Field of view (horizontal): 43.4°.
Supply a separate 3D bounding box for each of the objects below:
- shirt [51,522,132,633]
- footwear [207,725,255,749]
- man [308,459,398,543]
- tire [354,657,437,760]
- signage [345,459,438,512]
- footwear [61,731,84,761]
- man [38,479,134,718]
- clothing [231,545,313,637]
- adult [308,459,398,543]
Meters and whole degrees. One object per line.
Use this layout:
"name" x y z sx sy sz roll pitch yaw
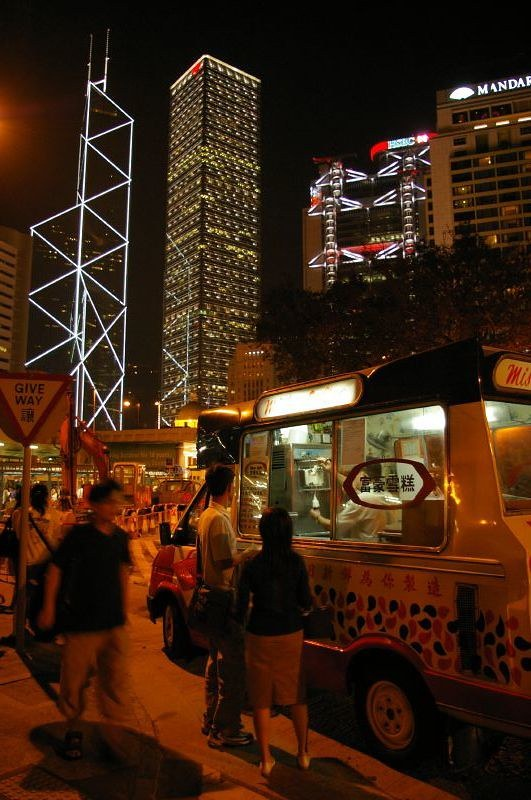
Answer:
"shirt" -1.032 1.044 3.954 0.435 0.622 0.256 1 -6 -12
"footwear" -0.221 2.175 4.334 0.268 0.118 0.121 -3 -13 -5
"man" 0.553 0.854 4.760 0.428 0.649 0.461 -8 -33 -6
"tire" 0.796 1.920 4.096 0.108 0.646 0.662 3 -6 -32
"signage" 0.818 0.539 4.343 0.637 0.324 0.014 0 -13 44
"footwear" -1.134 2.029 3.913 0.107 0.146 0.146 7 -13 -16
"man" -1.019 1.248 3.942 0.538 1.477 0.309 3 -1 -21
"clothing" 0.057 1.050 3.997 0.607 0.635 0.409 0 -4 0
"adult" 0.575 0.897 4.779 0.448 0.693 0.480 -9 -43 -3
